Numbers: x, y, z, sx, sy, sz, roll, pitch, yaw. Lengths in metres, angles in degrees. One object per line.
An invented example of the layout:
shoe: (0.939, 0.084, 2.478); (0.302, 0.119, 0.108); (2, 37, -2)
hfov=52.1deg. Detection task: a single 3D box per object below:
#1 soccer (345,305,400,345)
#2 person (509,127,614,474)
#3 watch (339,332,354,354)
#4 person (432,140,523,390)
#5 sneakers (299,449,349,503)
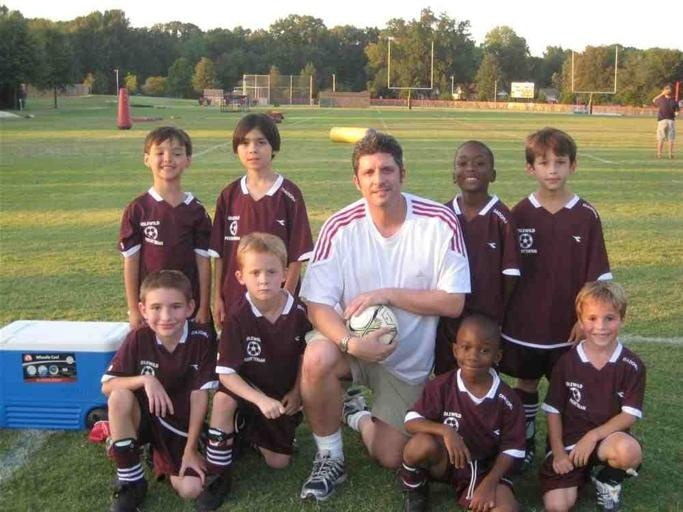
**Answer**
soccer: (0.181, 0.375, 3.942); (0.239, 0.190, 0.189); (-12, 12, -5)
person: (1.280, 0.292, 4.250); (0.744, 2.076, 0.601); (1, 7, 17)
watch: (0.028, 0.496, 3.985); (0.067, 0.109, 0.100); (27, 2, 40)
person: (0.786, 0.168, 4.299); (0.585, 1.731, 0.469); (0, 13, 5)
sneakers: (-0.098, 1.192, 3.816); (0.214, 0.157, 0.314); (2, 11, 12)
